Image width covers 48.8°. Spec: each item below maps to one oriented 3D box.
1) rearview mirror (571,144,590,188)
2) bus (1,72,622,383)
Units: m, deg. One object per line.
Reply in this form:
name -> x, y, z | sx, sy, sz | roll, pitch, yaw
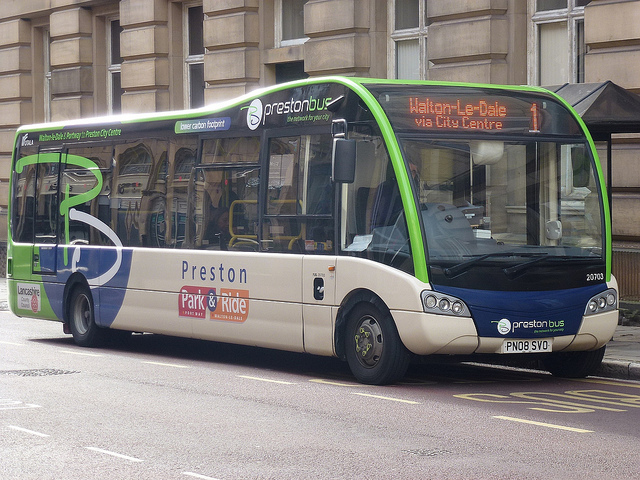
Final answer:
rearview mirror -> 3.157, -0.898, 8.598 | 0.242, 0.409, 0.101 | 0, 0, -17
bus -> -1.188, -0.209, 11.223 | 10.915, 4.126, 2.968 | -2, -1, 42
